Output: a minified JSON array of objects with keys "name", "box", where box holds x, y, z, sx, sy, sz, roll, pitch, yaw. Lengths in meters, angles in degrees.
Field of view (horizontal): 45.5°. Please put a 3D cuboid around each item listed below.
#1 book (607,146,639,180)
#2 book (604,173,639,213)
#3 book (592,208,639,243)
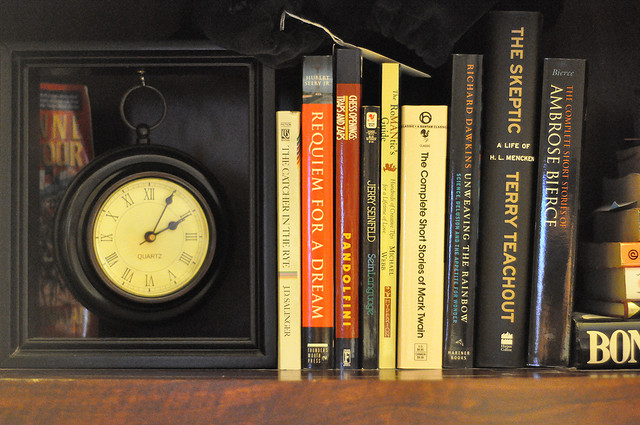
[{"name":"book","box":[0.577,-0.093,1.452,0.038,0.056,0.064,-17,13,-9]},{"name":"book","box":[0.555,-0.036,1.402,0.031,0.070,0.081,1,-1,-21]},{"name":"book","box":[0.535,0.022,1.374,0.071,0.036,0.065,0,-5,19]}]
